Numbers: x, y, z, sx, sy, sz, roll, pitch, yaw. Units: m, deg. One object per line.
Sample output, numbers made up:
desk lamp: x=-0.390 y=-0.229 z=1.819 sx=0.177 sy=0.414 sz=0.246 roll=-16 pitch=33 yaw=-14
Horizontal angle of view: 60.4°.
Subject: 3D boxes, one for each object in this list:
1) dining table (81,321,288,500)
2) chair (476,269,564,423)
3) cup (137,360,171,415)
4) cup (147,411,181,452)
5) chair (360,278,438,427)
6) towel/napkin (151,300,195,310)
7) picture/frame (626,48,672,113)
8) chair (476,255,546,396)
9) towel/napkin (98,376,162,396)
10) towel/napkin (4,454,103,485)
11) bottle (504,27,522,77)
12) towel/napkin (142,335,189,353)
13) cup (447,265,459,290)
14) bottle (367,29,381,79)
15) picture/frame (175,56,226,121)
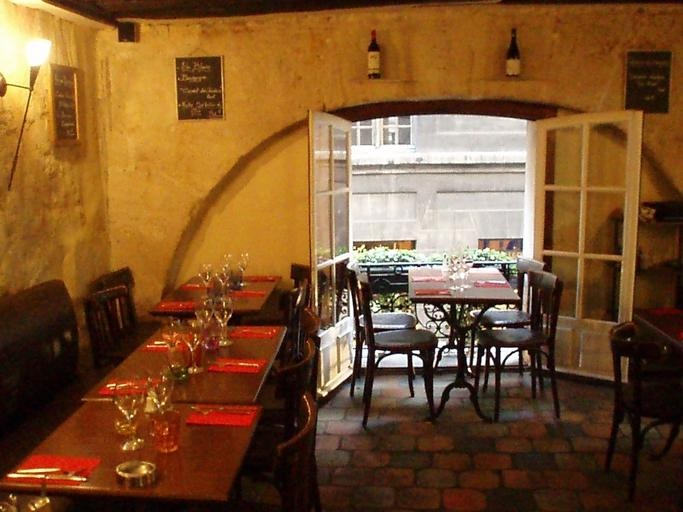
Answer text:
dining table: x=-0.784 y=0.807 z=3.055 sx=0.678 sy=0.275 sz=1.143 roll=3 pitch=16 yaw=10
chair: x=1.501 y=0.753 z=5.027 sx=0.782 sy=1.145 sz=0.767 roll=0 pitch=3 yaw=32
cup: x=-0.984 y=0.719 z=3.089 sx=0.189 sy=0.270 sz=0.162 roll=13 pitch=-21 yaw=-37
cup: x=-0.816 y=0.791 z=2.672 sx=0.175 sy=0.207 sz=0.178 roll=3 pitch=-1 yaw=0
chair: x=0.484 y=0.750 z=4.937 sx=0.649 sy=1.148 sz=0.668 roll=-1 pitch=12 yaw=1
towel/napkin: x=-1.320 y=0.393 z=4.698 sx=0.334 sy=0.033 sz=0.259 roll=-1 pitch=12 yaw=-1
picture/frame: x=2.765 y=-1.572 z=5.296 sx=0.047 sy=0.573 sz=0.420 roll=-28 pitch=31 yaw=-27
chair: x=1.581 y=0.558 z=5.384 sx=0.544 sy=0.882 sz=0.583 roll=-7 pitch=8 yaw=6
towel/napkin: x=-1.184 y=0.708 z=3.228 sx=0.180 sy=0.027 sz=0.196 roll=1 pitch=5 yaw=-7
towel/napkin: x=-1.230 y=0.909 z=2.505 sx=0.164 sy=0.023 sz=0.185 roll=2 pitch=6 yaw=3
bottle: x=1.535 y=-1.811 z=5.234 sx=0.142 sy=0.419 sz=0.154 roll=-1 pitch=12 yaw=0
towel/napkin: x=-1.093 y=0.549 z=3.652 sx=0.325 sy=0.093 sz=0.073 roll=3 pitch=-8 yaw=32
cup: x=0.995 y=0.194 z=5.267 sx=0.111 sy=0.261 sz=0.113 roll=-3 pitch=19 yaw=1
bottle: x=0.289 y=-1.794 z=5.234 sx=0.128 sy=0.423 sz=0.167 roll=-1 pitch=12 yaw=2
picture/frame: x=-1.283 y=-1.545 z=5.349 sx=0.534 sy=0.659 sz=0.070 roll=2 pitch=11 yaw=5
